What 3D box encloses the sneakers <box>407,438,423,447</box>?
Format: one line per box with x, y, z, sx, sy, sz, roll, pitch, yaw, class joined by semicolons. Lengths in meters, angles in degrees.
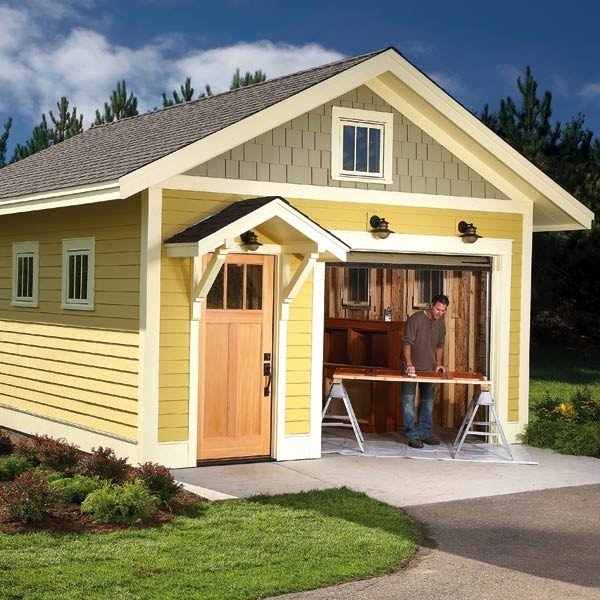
1.630;2.017;10.875;0.208;0.125;0.249;-1;-5;9;sneakers

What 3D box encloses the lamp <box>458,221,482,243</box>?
2.409;-0.985;11.045;0.247;0.334;0.160;2;-4;-21;lamp

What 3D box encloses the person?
1.807;1.015;11.134;0.625;2.166;1.395;0;-4;9;person

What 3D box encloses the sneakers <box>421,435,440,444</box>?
1.899;2.034;11.156;0.229;0.113;0.117;-1;2;23;sneakers

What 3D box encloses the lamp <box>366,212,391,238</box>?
1.065;-0.995;10.357;0.280;0.384;0.252;0;-2;-40;lamp

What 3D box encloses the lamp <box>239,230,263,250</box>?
-0.601;-0.716;9.339;0.194;0.213;0.213;-2;1;30;lamp
